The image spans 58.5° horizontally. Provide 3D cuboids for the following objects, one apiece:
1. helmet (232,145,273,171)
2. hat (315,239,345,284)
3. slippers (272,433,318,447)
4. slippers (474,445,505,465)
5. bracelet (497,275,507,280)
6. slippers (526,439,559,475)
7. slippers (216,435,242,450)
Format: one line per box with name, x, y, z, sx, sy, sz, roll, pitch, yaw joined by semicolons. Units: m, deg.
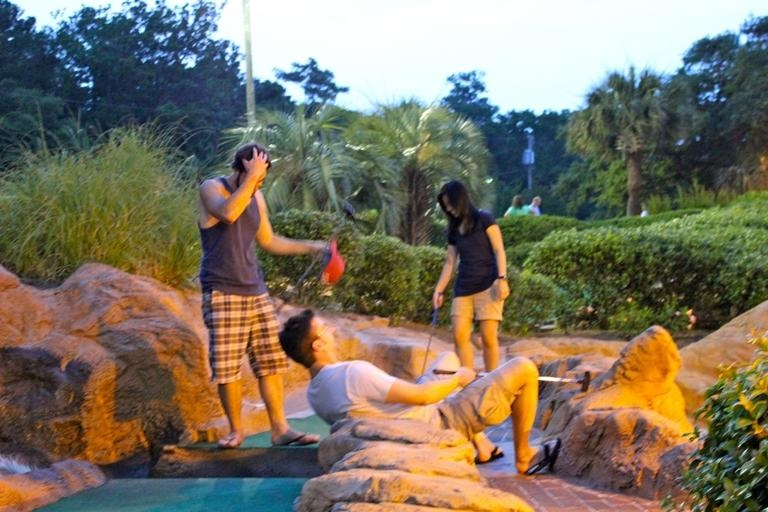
helmet;-1.225;-0.906;6.293;0.297;0.296;0.235;-11;16;-14
hat;-0.502;0.103;6.620;0.263;0.403;0.239;-11;47;-29
slippers;-0.842;1.742;6.449;0.388;0.168;0.158;-5;-4;14
slippers;0.967;1.815;6.225;0.108;0.150;0.344;8;22;41
bracelet;1.284;0.236;7.399;0.123;0.050;0.073;-3;5;-40
slippers;1.369;1.759;5.904;0.126;0.320;0.107;41;-8;-28
slippers;-1.451;1.773;6.467;0.189;0.082;0.112;6;16;-17
